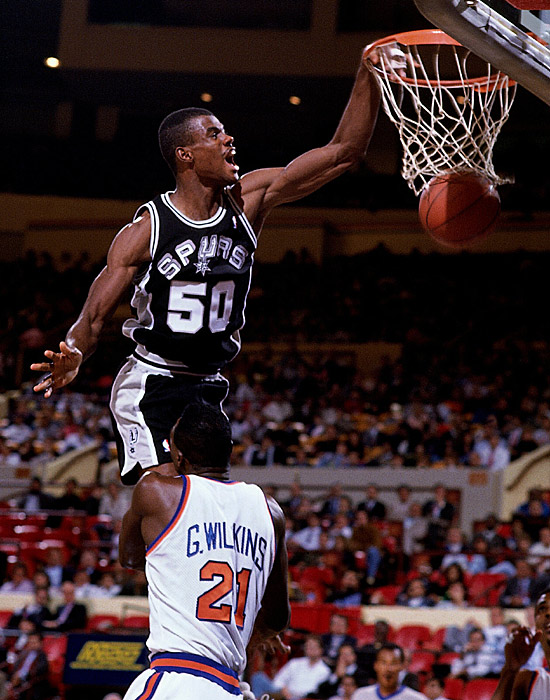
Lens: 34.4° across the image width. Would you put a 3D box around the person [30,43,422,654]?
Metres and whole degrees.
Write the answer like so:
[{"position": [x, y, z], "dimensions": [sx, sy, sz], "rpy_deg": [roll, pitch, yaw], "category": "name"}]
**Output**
[{"position": [-0.210, -0.262, 2.348], "dimensions": [0.328, 1.262, 1.048], "rpy_deg": [8, 7, 41], "category": "person"}]
